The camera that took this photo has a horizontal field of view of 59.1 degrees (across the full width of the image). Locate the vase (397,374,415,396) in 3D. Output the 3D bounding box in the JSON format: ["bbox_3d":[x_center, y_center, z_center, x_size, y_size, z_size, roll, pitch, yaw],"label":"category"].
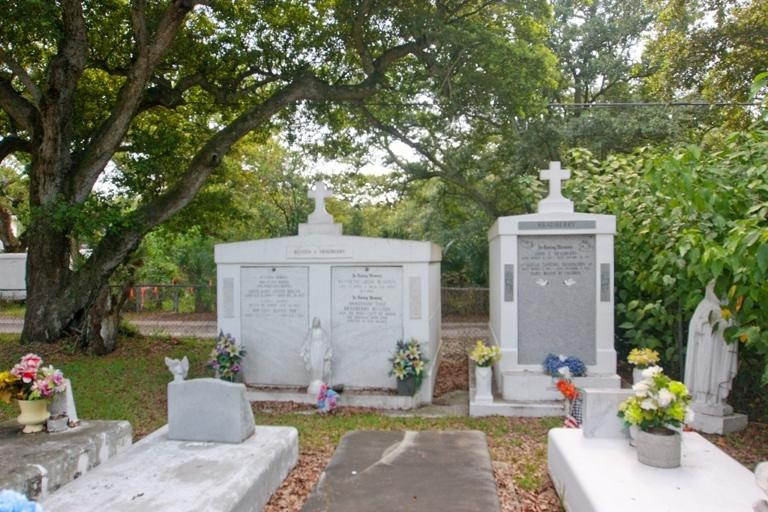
[{"bbox_3d":[0.448,2.653,13.907,0.378,0.287,0.385,6,-10,-42],"label":"vase"}]

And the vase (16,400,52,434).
[{"bbox_3d":[-5.879,2.657,11.406,0.551,0.521,0.485,-3,2,-40],"label":"vase"}]

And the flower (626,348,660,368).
[{"bbox_3d":[4.861,1.883,12.661,0.660,0.449,0.683,-6,-7,41],"label":"flower"}]

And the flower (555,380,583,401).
[{"bbox_3d":[3.646,2.643,13.419,0.458,0.420,0.573,0,-3,13],"label":"flower"}]

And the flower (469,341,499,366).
[{"bbox_3d":[2.054,2.005,13.863,0.688,0.592,0.679,0,-8,2],"label":"flower"}]

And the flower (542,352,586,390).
[{"bbox_3d":[3.641,2.234,13.749,0.667,0.373,0.534,3,5,-22],"label":"flower"}]

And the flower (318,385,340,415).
[{"bbox_3d":[-1.145,2.891,13.848,0.430,0.533,0.381,1,-2,-6],"label":"flower"}]

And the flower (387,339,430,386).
[{"bbox_3d":[0.507,2.194,14.245,0.903,1.007,0.889,0,-1,21],"label":"flower"}]

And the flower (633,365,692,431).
[{"bbox_3d":[4.364,2.220,10.638,0.896,0.966,0.355,0,-2,6],"label":"flower"}]

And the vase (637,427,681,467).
[{"bbox_3d":[4.419,3.035,10.857,0.653,0.473,0.654,-2,-1,21],"label":"vase"}]
